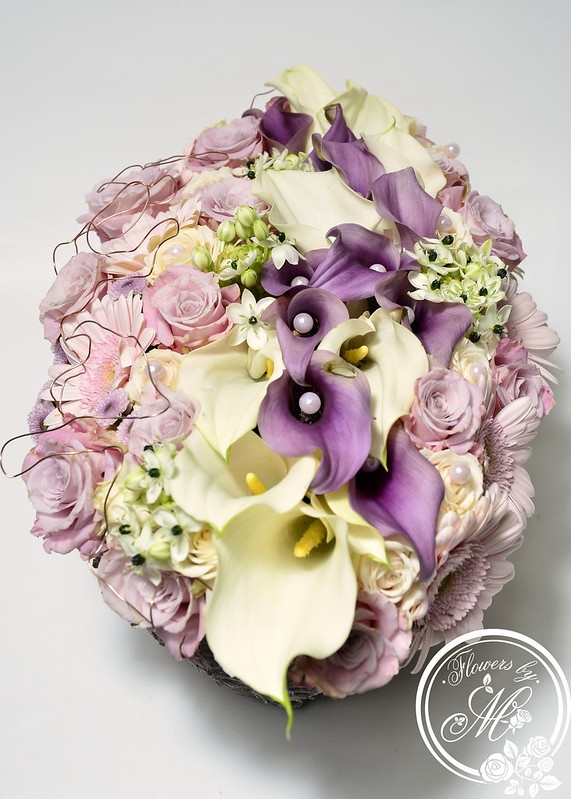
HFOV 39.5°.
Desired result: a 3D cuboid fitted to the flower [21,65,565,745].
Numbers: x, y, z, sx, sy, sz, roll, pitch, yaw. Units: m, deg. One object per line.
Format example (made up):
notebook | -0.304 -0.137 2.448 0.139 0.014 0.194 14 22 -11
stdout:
flower | -0.019 0.004 1.108 0.726 0.374 0.745 6 72 -3
